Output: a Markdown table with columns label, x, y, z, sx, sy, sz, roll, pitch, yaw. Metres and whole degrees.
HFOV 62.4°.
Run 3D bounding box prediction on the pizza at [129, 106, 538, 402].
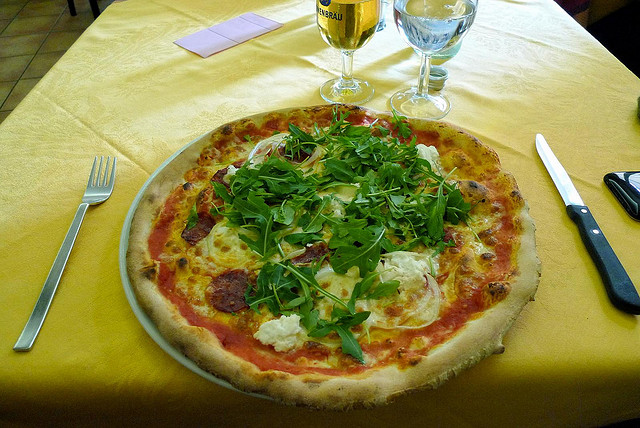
| label | x | y | z | sx | sy | sz | roll | pitch | yaw |
| --- | --- | --- | --- | --- | --- | --- | --- | --- | --- |
| pizza | 0.034 | 0.063 | 1.536 | 1.130 | 0.380 | 0.869 | 2 | 78 | 0 |

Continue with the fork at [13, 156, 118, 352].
| label | x | y | z | sx | sy | sz | roll | pitch | yaw |
| --- | --- | --- | --- | --- | --- | --- | --- | --- | --- |
| fork | -0.723 | 0.080 | 1.563 | 0.077 | 0.074 | 0.635 | 5 | 60 | 13 |
